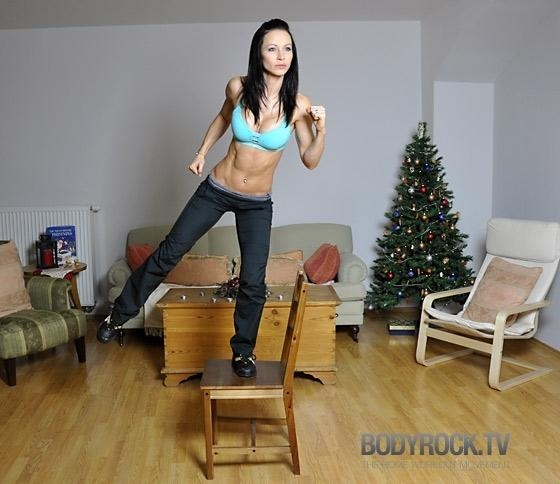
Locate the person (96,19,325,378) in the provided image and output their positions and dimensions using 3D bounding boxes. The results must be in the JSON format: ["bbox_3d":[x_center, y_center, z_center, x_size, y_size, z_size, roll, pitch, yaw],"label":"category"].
[{"bbox_3d":[-0.282,-0.179,2.400,0.988,1.670,0.426,0,9,4],"label":"person"}]

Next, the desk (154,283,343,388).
[{"bbox_3d":[-0.256,0.471,3.570,1.229,0.549,0.643,-2,31,-10],"label":"desk"}]

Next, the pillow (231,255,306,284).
[{"bbox_3d":[-0.032,0.209,4.027,0.380,0.297,0.114,1,-20,3],"label":"pillow"}]

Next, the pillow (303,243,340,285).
[{"bbox_3d":[0.374,0.169,4.102,0.306,0.330,0.087,36,-1,39],"label":"pillow"}]
